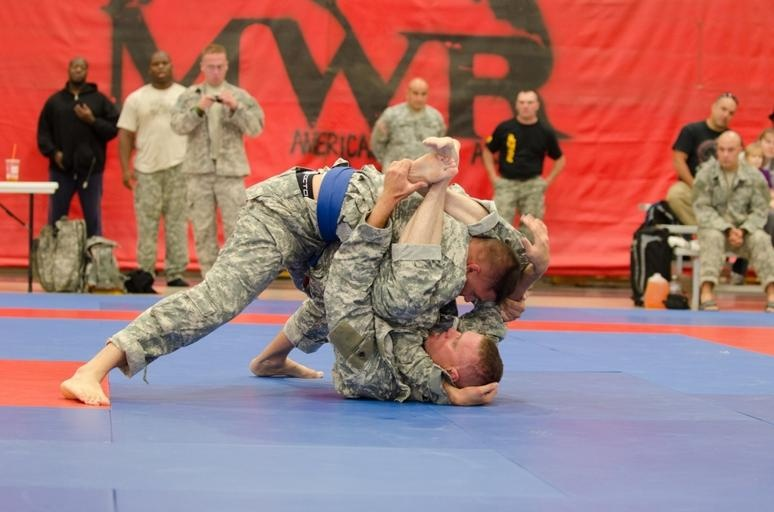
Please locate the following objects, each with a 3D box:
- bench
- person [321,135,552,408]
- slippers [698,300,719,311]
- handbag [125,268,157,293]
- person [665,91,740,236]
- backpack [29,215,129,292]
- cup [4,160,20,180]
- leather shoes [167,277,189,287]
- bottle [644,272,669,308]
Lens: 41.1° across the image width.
[{"bbox_3d":[3.429,-0.006,11.580,1.142,1.289,1.240,3,-4,-33],"label":"bench"},{"bbox_3d":[0.344,0.240,6.672,1.380,0.821,1.670,-15,47,-7],"label":"person"},{"bbox_3d":[3.350,0.521,10.686,0.189,0.101,0.252,6,14,14],"label":"slippers"},{"bbox_3d":[-2.570,0.264,10.840,0.253,0.130,0.289,14,-9,-11],"label":"handbag"},{"bbox_3d":[3.802,-1.060,11.948,1.018,1.510,0.938,16,23,14],"label":"person"},{"bbox_3d":[-3.280,-0.077,10.910,0.732,0.863,0.437,-5,5,-7],"label":"backpack"},{"bbox_3d":[-3.893,-0.884,10.789,0.118,0.249,0.253,-4,16,-25],"label":"cup"},{"bbox_3d":[-2.331,0.290,11.411,0.293,0.104,0.098,-2,-4,25],"label":"leather shoes"},{"bbox_3d":[2.896,0.387,11.009,0.264,0.333,0.421,6,15,13],"label":"bottle"}]
